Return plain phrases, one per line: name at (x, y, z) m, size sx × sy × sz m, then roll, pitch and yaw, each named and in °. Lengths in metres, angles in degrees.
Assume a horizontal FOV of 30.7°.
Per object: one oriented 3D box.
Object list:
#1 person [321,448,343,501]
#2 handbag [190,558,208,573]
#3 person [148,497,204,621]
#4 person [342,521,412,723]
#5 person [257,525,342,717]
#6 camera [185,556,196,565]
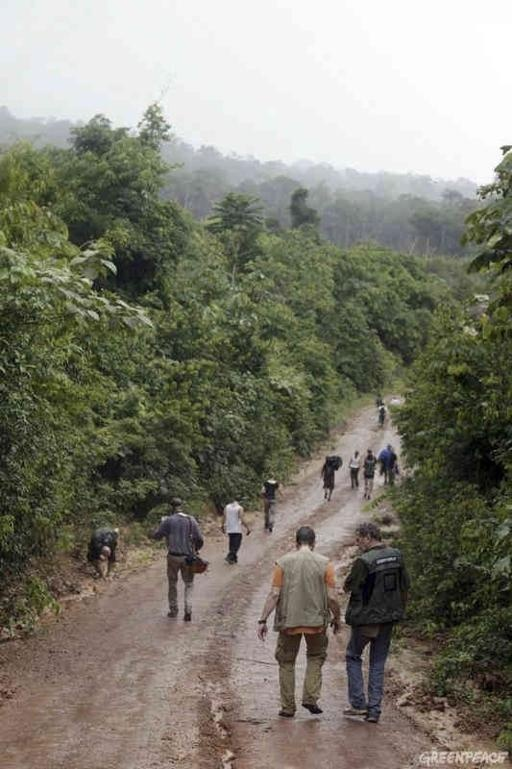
person at (1.981, 2.430, 24.867) m, size 0.450 × 1.134 × 1.594 m, roll 0°, pitch 1°, yaw 5°
handbag at (-0.777, 2.466, 12.595) m, size 0.204 × 0.241 × 0.229 m, roll -2°, pitch 7°, yaw -14°
person at (-1.051, 2.348, 12.582) m, size 0.620 × 1.598 × 0.478 m, roll 0°, pitch 2°, yaw -1°
person at (1.145, 2.297, 9.025) m, size 0.587 × 1.856 × 0.453 m, roll 1°, pitch 2°, yaw 12°
person at (0.424, 2.298, 8.931) m, size 0.711 × 1.796 × 0.403 m, roll 0°, pitch 2°, yaw 3°
camera at (-0.881, 2.339, 12.501) m, size 0.087 × 0.043 × 0.127 m, roll 16°, pitch 40°, yaw -9°
